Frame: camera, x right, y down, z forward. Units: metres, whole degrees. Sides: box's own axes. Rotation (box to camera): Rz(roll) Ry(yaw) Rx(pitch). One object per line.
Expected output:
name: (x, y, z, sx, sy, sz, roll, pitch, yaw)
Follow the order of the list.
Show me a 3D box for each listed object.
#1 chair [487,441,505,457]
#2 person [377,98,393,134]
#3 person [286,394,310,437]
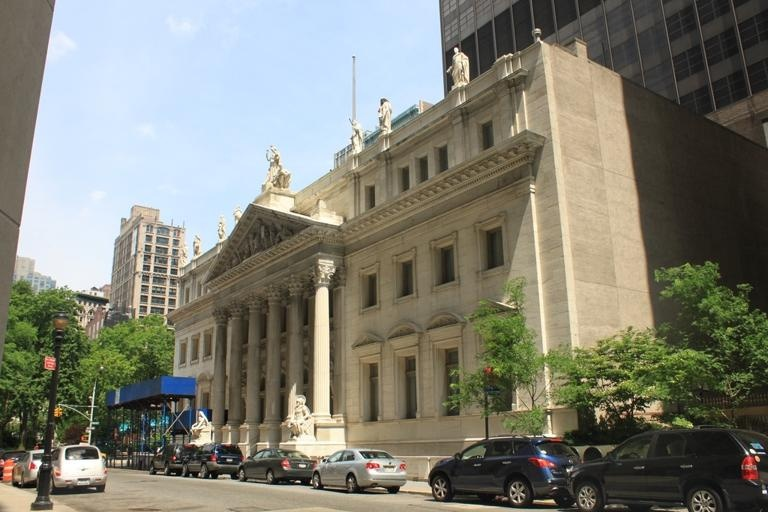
chair: (4.683, 8.052, 28.901, 0.634, 0.575, 0.386, -13, -15, 37)
person: (0.139, -9.899, 50.097, 0.770, 2.776, 1.100, 1, -22, -6)
person: (-5.616, 11.079, 47.502, 1.602, 2.918, 0.786, -6, -22, 12)
